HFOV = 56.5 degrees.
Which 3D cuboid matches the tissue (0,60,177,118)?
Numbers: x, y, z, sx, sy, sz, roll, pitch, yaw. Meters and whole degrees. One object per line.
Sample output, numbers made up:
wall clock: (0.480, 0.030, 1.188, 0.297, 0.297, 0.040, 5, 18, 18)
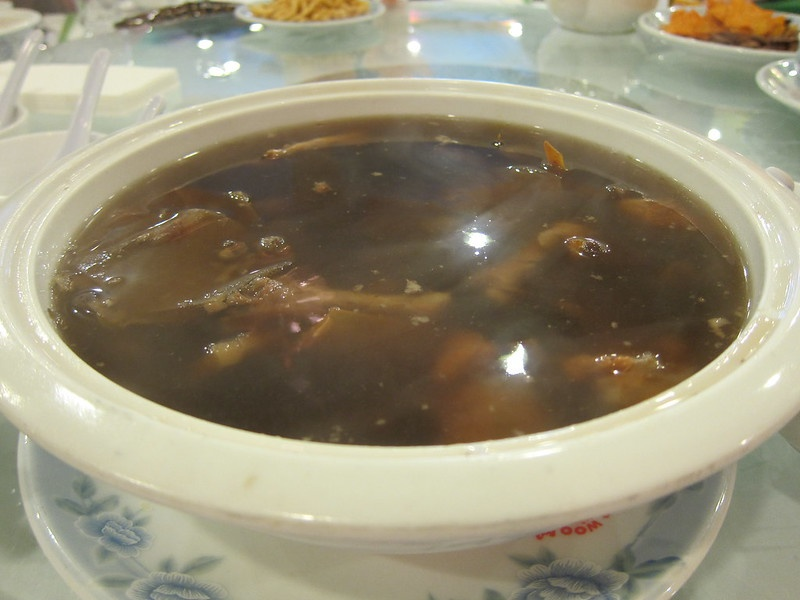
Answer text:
tissue: (-0.862, -0.582, 2.031, 0.520, 0.069, 0.260, 2, 28, 3)
